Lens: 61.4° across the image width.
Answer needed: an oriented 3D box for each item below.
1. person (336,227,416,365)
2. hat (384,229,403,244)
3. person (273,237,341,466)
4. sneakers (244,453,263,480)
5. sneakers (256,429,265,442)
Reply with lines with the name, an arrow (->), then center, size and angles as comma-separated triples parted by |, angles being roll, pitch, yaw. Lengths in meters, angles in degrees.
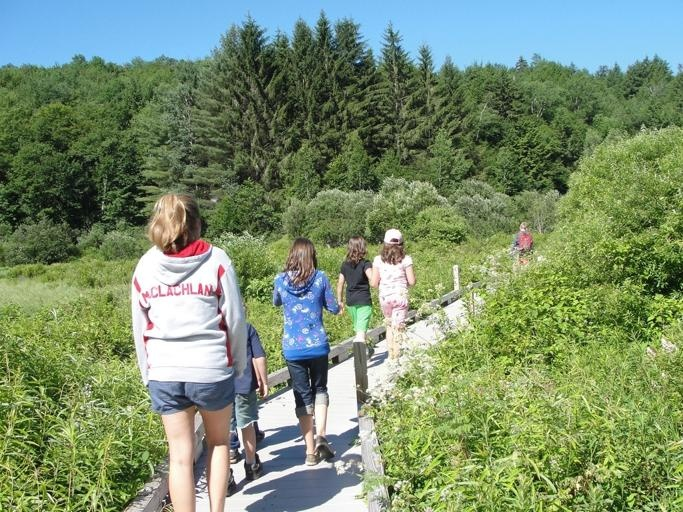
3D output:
person -> 0.565, 0.626, 8.920 | 1.166, 2.029, 0.683 | -1, 4, 6
hat -> 0.806, -0.303, 8.952 | 0.179, 0.182, 0.263 | 2, 15, 2
person -> -0.366, 1.040, 6.369 | 0.664, 2.443, 0.512 | -2, 4, -2
sneakers -> -0.940, 2.268, 6.171 | 0.104, 0.143, 0.301 | -1, 7, 6
sneakers -> -0.994, 2.187, 7.011 | 0.049, 0.071, 0.151 | 6, 24, 3
